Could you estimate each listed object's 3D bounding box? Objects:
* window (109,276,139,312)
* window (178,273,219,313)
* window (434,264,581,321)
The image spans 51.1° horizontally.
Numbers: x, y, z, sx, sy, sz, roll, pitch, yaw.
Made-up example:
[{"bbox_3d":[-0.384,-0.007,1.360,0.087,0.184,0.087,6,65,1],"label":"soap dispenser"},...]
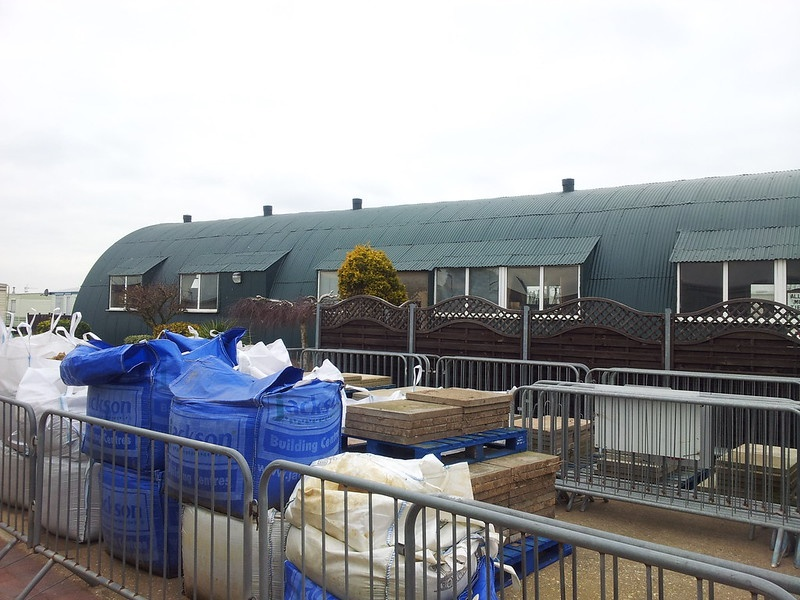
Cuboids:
[{"bbox_3d":[-8.717,-0.188,26.470,1.191,0.981,0.124,-1,-8,37],"label":"window"},{"bbox_3d":[-6.138,-0.269,25.602,1.951,1.177,0.088,1,0,40],"label":"window"},{"bbox_3d":[2.507,-0.284,19.937,3.482,1.136,0.079,0,-8,13],"label":"window"}]
